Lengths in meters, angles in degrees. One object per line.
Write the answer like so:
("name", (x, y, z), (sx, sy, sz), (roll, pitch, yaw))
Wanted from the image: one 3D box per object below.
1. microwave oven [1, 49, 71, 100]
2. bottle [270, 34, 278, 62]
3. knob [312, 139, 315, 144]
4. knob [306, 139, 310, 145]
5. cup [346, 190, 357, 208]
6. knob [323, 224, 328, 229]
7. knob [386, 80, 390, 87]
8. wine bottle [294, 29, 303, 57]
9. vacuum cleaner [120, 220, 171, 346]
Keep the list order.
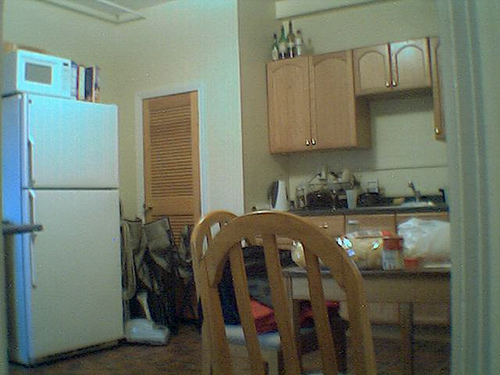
("microwave oven", (-0.932, -0.485, 1.903), (0.279, 0.219, 0.200), (-4, 1, -28))
("bottle", (0.126, -0.739, 2.296), (0.044, 0.144, 0.156), (-3, 1, 3))
("knob", (0.279, -0.204, 1.925), (0.016, 0.032, 0.015), (3, -17, -5))
("knob", (0.256, -0.203, 1.937), (0.022, 0.018, 0.017), (1, 1, 0))
("cup", (0.423, 0.046, 1.807), (0.039, 0.068, 0.044), (-3, 0, 10))
("knob", (0.306, 0.158, 1.765), (0.014, 0.008, 0.014), (-12, 11, -33))
("knob", (0.547, -0.416, 1.732), (0.004, 0.019, 0.013), (1, 12, -17))
("wine bottle", (0.234, -0.694, 2.100), (0.038, 0.123, 0.105), (-3, 0, 4))
("vacuum cleaner", (-0.535, 0.472, 2.203), (0.252, 0.652, 0.126), (-3, 0, 12))
